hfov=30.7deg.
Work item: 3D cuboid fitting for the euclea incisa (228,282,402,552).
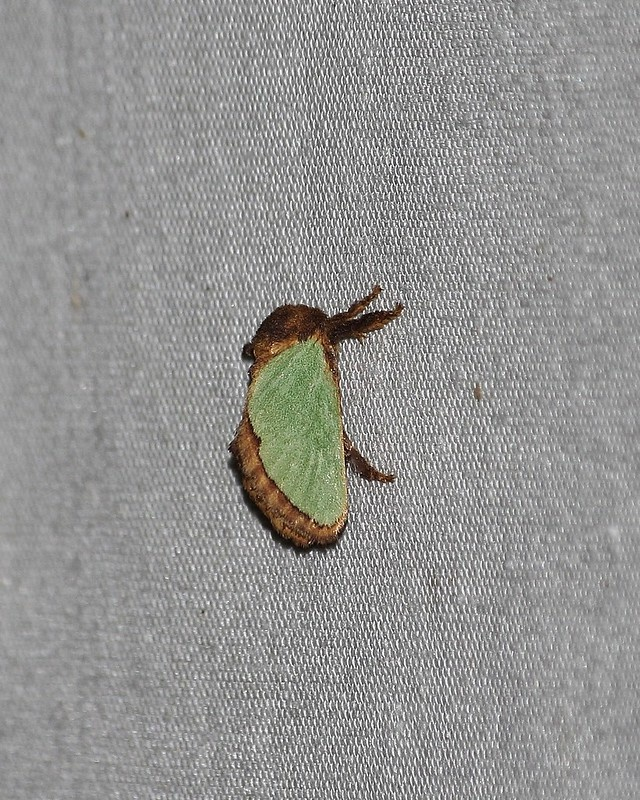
[{"bbox_3d":[-0.021,0.020,0.994,0.114,0.053,0.234,2,93,38],"label":"euclea incisa"}]
